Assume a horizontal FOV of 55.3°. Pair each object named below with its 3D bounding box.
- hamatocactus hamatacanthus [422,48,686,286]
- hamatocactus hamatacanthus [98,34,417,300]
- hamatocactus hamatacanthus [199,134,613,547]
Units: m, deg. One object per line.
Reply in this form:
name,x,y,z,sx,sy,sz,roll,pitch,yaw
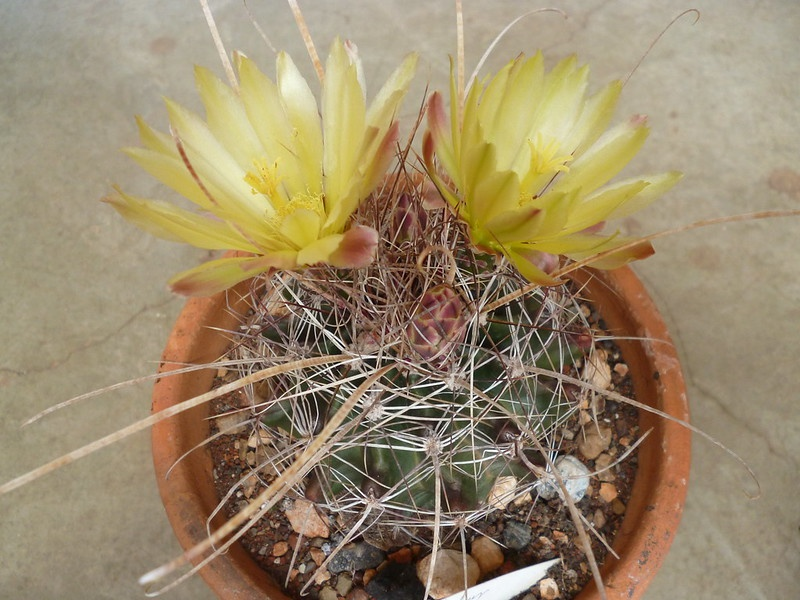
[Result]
hamatocactus hamatacanthus,0.211,-0.157,1.134,0.305,0.376,0.323,-25,78,-1
hamatocactus hamatacanthus,-0.163,-0.210,1.096,0.354,0.220,0.431,12,29,32
hamatocactus hamatacanthus,-0.011,0.142,1.387,0.588,0.445,0.583,25,68,19
